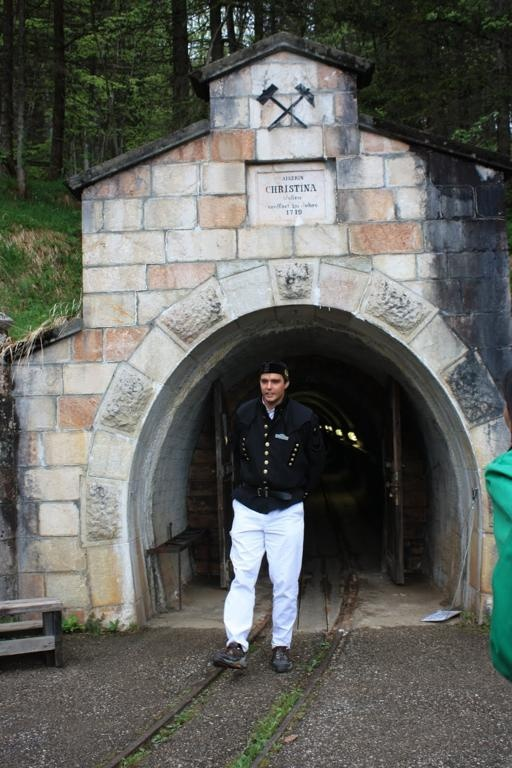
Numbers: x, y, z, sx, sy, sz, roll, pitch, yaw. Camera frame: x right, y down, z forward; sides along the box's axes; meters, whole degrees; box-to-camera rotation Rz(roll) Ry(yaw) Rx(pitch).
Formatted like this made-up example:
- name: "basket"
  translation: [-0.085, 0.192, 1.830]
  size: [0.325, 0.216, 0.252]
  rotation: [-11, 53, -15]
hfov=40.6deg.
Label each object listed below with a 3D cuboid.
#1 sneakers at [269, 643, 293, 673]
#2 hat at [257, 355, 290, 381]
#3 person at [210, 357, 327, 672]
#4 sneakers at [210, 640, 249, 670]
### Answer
- name: "sneakers"
  translation: [0.168, 1.853, 4.679]
  size: [0.136, 0.151, 0.176]
  rotation: [-2, -7, -1]
- name: "hat"
  translation: [0.138, -0.137, 4.775]
  size: [0.196, 0.116, 0.191]
  rotation: [4, -6, 13]
- name: "person"
  translation: [0.102, 0.905, 4.794]
  size: [0.790, 2.063, 0.549]
  rotation: [-2, -7, -2]
- name: "sneakers"
  translation: [-0.157, 1.779, 4.506]
  size: [0.125, 0.134, 0.271]
  rotation: [-10, -26, 35]
